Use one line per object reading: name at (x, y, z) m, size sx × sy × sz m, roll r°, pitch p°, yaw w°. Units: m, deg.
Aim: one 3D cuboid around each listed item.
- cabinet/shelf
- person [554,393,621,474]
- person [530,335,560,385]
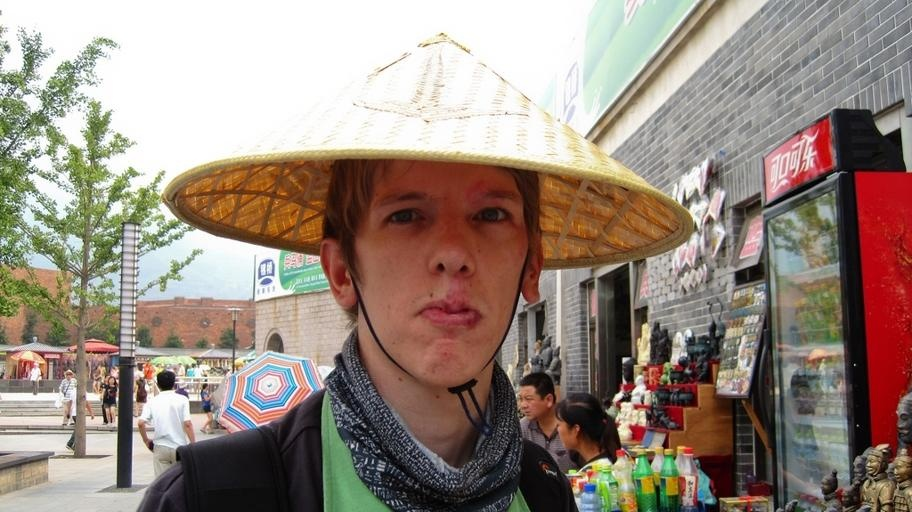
cabinet/shelf at (3.155, 2.105, 9.253) m, size 1.322 × 2.453 × 2.577 m, roll 1°, pitch -14°, yaw 0°
person at (1.521, 2.075, 7.985) m, size 0.792 × 1.062 × 1.077 m, roll -1°, pitch -3°, yaw 35°
person at (1.847, 2.144, 13.455) m, size 0.359 × 0.432 × 1.009 m, roll 5°, pitch 21°, yaw 5°
